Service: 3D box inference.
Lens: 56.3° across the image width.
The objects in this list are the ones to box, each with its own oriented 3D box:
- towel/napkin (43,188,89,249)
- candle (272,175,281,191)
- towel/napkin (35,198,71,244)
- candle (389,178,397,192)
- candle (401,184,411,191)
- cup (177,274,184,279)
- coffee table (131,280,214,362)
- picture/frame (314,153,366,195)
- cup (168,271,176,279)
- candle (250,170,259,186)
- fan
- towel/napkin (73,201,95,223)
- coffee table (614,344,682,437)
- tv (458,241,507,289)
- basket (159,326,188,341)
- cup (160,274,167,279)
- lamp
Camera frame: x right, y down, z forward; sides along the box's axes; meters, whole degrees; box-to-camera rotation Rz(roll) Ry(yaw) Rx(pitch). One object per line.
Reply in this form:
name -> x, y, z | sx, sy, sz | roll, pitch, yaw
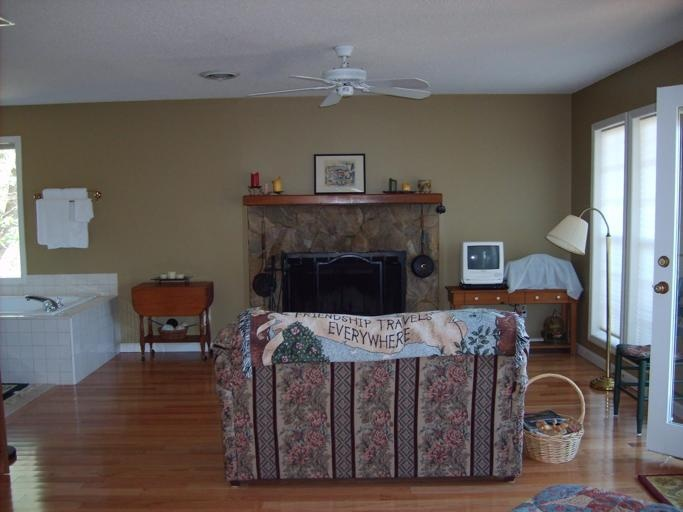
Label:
towel/napkin -> -2.999, -0.408, 6.982 | 0.601, 0.618, 0.183 | 1, 0, -7
candle -> -0.684, -0.776, 6.836 | 0.105, 0.160, 0.215 | -3, 14, -6
towel/napkin -> -3.058, -0.387, 7.014 | 0.362, 0.489, 0.481 | 0, 3, -8
candle -> 0.571, -0.774, 6.848 | 0.103, 0.135, 0.135 | -1, 14, 2
candle -> 0.705, -0.730, 6.777 | 0.079, 0.077, 0.081 | 2, 0, 8
cup -> -1.736, 0.220, 6.873 | 0.066, 0.046, 0.067 | 0, -4, 0
coffee table -> -1.799, 0.676, 6.798 | 0.801, 0.837, 0.514 | -1, 14, 2
picture/frame -> 0.008, -0.898, 6.865 | 0.449, 0.355, 0.035 | 0, 1, 2
cup -> -1.833, 0.199, 6.839 | 0.094, 0.100, 0.070 | 0, 2, 1
candle -> -0.917, -0.829, 6.811 | 0.106, 0.150, 0.242 | -3, 14, -8
fan -> 0.186, -1.519, 5.376 | 1.165, 0.466, 1.862 | 0, 14, 3
towel/napkin -> -2.786, -0.479, 6.879 | 0.209, 0.214, 0.076 | 0, -2, -13
coffee table -> 2.496, 0.955, 5.233 | 0.554, 0.774, 0.779 | 1, 1, 33
tv -> 1.469, 0.081, 6.600 | 0.423, 0.465, 0.461 | 0, -2, 5
basket -> -1.812, 0.808, 6.816 | 0.188, 0.070, 0.177 | 0, -2, 36
cup -> -1.908, 0.216, 6.842 | 0.075, 0.052, 0.054 | 0, 4, 2
lamp -> 2.318, 0.332, 5.989 | 0.635, 1.600, 1.076 | 6, 16, 26
